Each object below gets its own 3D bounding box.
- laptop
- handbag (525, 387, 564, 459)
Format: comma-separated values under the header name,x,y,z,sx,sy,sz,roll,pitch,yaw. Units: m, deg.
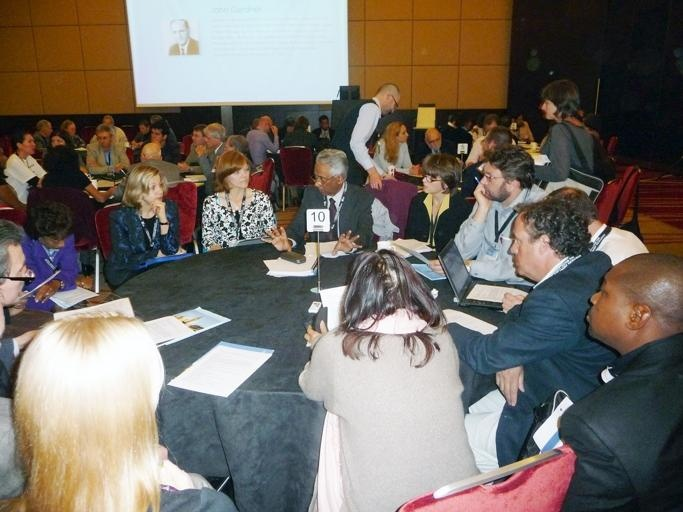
name,x,y,z,sx,sy,sz,roll,pitch,yaw
laptop,0.666,0.136,2.376,0.337,0.238,0.356,-5,19,19
handbag,0.665,0.533,1.656,0.071,0.152,0.208,11,54,18
